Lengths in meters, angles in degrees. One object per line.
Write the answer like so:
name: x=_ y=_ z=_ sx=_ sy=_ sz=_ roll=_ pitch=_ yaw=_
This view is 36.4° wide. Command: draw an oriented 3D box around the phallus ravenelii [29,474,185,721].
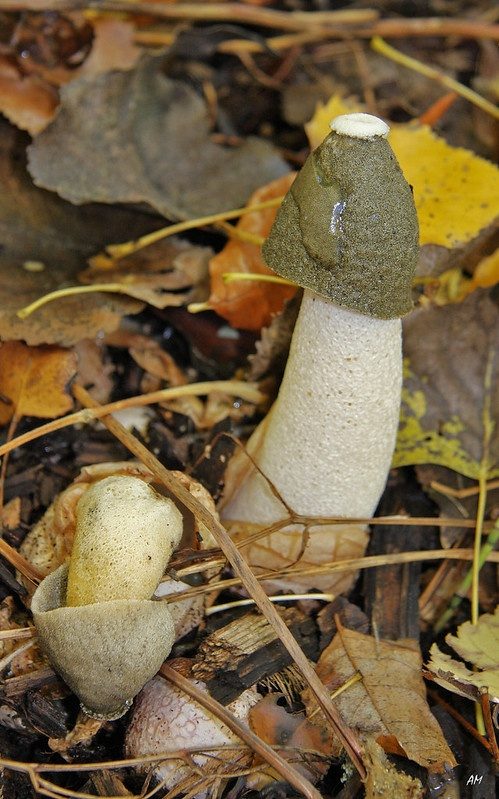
phallus ravenelii: x=-0.210 y=0.319 z=1.259 sx=0.245 sy=0.185 sz=0.369 roll=21 pitch=62 yaw=-10
